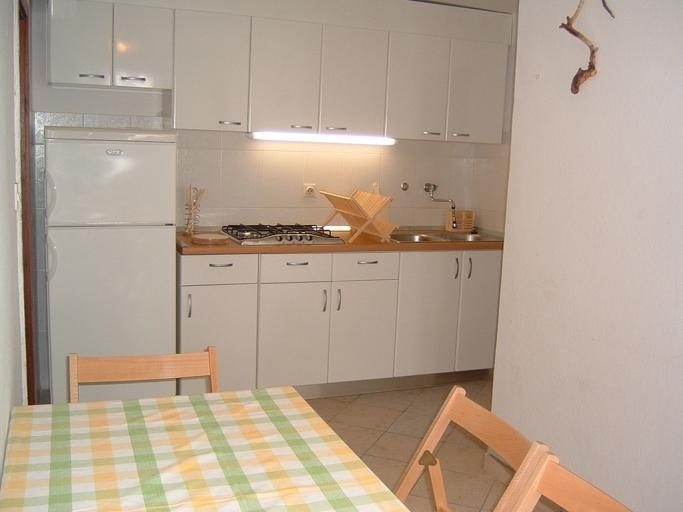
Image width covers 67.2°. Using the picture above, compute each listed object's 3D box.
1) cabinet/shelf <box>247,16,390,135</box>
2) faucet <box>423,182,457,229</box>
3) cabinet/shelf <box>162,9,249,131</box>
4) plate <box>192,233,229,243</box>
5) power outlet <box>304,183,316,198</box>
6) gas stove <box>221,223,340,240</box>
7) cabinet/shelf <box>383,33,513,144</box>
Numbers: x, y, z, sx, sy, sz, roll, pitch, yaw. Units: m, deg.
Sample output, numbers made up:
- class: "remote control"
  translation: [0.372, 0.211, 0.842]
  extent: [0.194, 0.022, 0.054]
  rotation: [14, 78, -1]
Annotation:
- class: "cabinet/shelf"
  translation: [-0.213, -1.226, 4.045]
  extent: [1.464, 0.914, 0.734]
  rotation: [1, 5, -14]
- class: "faucet"
  translation: [0.868, -0.439, 4.454]
  extent: [0.326, 0.389, 0.221]
  rotation: [0, 10, -7]
- class: "cabinet/shelf"
  translation: [-1.020, -1.348, 4.082]
  extent: [0.726, 1.177, 0.857]
  rotation: [1, 7, -18]
- class: "plate"
  translation: [-0.916, -0.118, 3.535]
  extent: [0.231, 0.049, 0.327]
  rotation: [-3, 10, -21]
- class: "power outlet"
  translation: [-0.263, -0.527, 4.123]
  extent: [0.129, 0.114, 0.062]
  rotation: [-1, 10, -19]
- class: "gas stove"
  translation: [-0.468, -0.178, 3.752]
  extent: [0.703, 0.074, 0.507]
  rotation: [-3, 10, -24]
- class: "cabinet/shelf"
  translation: [0.794, -1.325, 3.992]
  extent: [1.277, 0.827, 0.418]
  rotation: [1, 10, -14]
